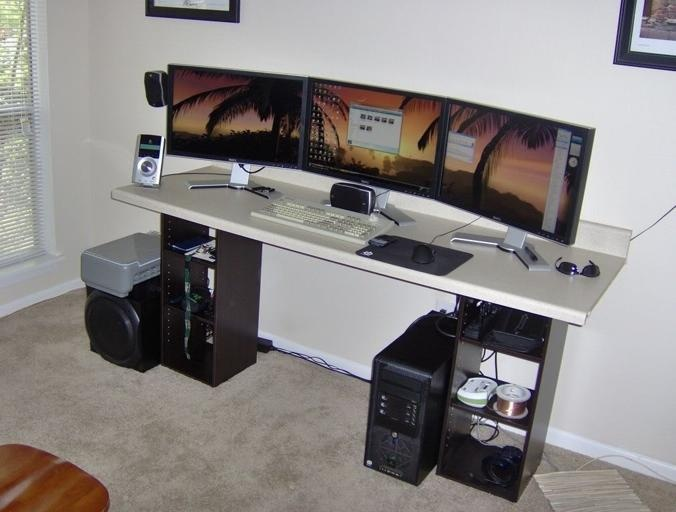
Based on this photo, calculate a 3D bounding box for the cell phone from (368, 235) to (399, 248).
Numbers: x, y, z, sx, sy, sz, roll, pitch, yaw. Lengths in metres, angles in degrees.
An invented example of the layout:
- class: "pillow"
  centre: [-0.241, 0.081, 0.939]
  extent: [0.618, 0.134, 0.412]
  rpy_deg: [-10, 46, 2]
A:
- class: "cell phone"
  centre: [0.195, -0.068, 2.427]
  extent: [0.058, 0.023, 0.100]
  rpy_deg: [20, 31, 37]

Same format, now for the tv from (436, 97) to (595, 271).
- class: "tv"
  centre: [0.751, -0.310, 2.330]
  extent: [0.563, 0.551, 0.203]
  rpy_deg: [25, 35, 35]

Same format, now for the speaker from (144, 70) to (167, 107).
- class: "speaker"
  centre: [-0.941, -0.859, 2.883]
  extent: [0.145, 0.180, 0.083]
  rpy_deg: [5, 24, 1]

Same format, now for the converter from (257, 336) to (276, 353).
- class: "converter"
  centre: [-0.416, 0.514, 3.252]
  extent: [0.108, 0.027, 0.059]
  rpy_deg: [14, 23, 23]

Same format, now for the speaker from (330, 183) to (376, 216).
- class: "speaker"
  centre: [0.063, -0.262, 2.606]
  extent: [0.137, 0.082, 0.049]
  rpy_deg: [13, 34, 25]

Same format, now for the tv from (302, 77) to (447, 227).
- class: "tv"
  centre: [0.177, -0.505, 2.620]
  extent: [0.634, 0.462, 0.145]
  rpy_deg: [17, 34, 22]

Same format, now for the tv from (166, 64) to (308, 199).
- class: "tv"
  centre: [-0.506, -0.649, 2.839]
  extent: [0.649, 0.521, 0.171]
  rpy_deg: [10, 24, 8]
